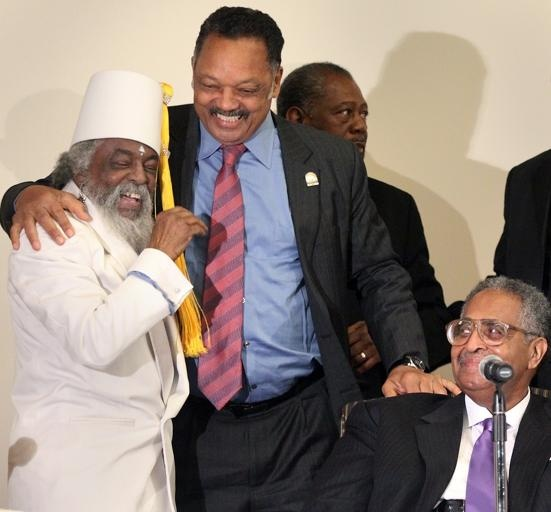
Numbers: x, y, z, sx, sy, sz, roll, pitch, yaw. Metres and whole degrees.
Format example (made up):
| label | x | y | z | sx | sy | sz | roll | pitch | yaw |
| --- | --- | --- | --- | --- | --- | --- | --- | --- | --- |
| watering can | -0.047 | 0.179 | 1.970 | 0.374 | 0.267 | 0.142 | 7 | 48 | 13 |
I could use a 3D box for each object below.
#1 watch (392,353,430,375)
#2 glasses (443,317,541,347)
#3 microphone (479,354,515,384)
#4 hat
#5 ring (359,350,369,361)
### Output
| label | x | y | z | sx | sy | sz | roll | pitch | yaw |
| --- | --- | --- | --- | --- | --- | --- | --- | --- | --- |
| watch | 0.527 | 0.417 | 2.483 | 0.100 | 0.072 | 0.110 | -3 | -15 | 11 |
| glasses | 0.715 | 0.266 | 2.149 | 0.280 | 0.096 | 0.072 | 6 | 0 | -11 |
| microphone | 0.525 | 0.283 | 1.529 | 0.053 | 0.072 | 0.090 | 5 | 0 | -25 |
| hat | -0.545 | -0.541 | 2.478 | 0.331 | 0.357 | 0.322 | 8 | -20 | 5 |
| ring | 0.407 | 0.478 | 3.004 | 0.028 | 0.041 | 0.013 | -9 | -6 | -5 |
